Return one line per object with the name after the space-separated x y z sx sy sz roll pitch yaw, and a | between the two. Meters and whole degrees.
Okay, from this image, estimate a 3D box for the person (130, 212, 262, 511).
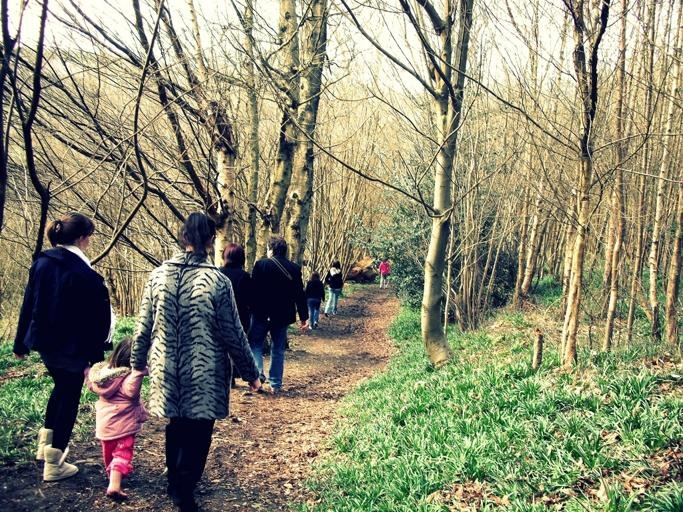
-1.583 1.134 7.714 1.246 3.167 0.400 0 -4 -8 | person
